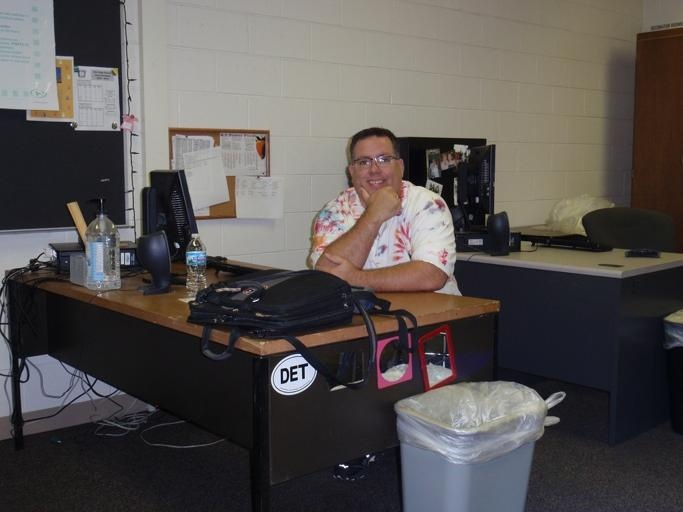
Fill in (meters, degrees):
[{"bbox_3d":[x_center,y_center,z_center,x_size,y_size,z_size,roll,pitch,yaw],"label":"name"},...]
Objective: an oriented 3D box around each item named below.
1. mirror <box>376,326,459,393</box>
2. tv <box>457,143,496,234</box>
[{"bbox_3d":[0.257,0.313,1.769,0.273,0.213,0.065,-4,1,-32],"label":"mirror"},{"bbox_3d":[0.771,-0.371,3.129,0.153,0.522,0.492,-4,13,-14],"label":"tv"}]
